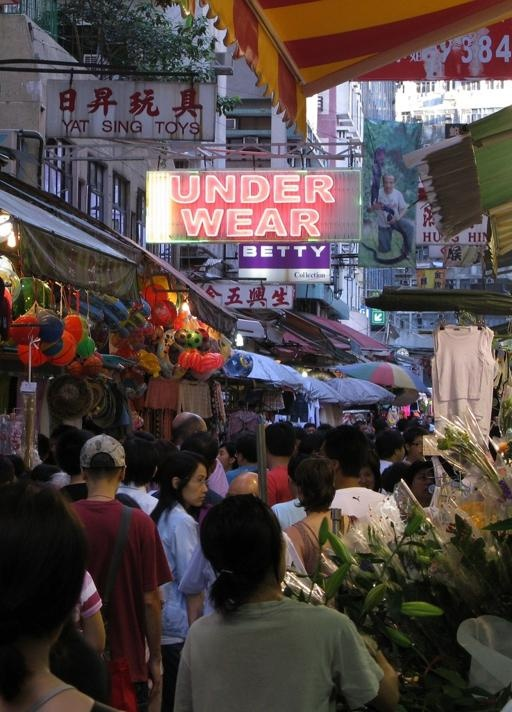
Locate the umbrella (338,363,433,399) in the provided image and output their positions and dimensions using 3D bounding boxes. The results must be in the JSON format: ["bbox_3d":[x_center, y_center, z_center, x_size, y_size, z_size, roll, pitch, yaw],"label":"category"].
[{"bbox_3d":[2.240,0.367,14.601,1.094,0.387,1.094,6,-6,20],"label":"umbrella"}]

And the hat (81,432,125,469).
[{"bbox_3d":[-0.644,0.405,3.319,0.176,0.137,0.283,1,5,-5],"label":"hat"}]

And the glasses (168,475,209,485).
[{"bbox_3d":[-0.340,0.626,3.864,0.095,0.039,0.074,-7,-2,11],"label":"glasses"}]

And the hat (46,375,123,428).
[{"bbox_3d":[-1.368,0.353,6.240,0.232,0.229,0.522,12,-1,15],"label":"hat"}]
